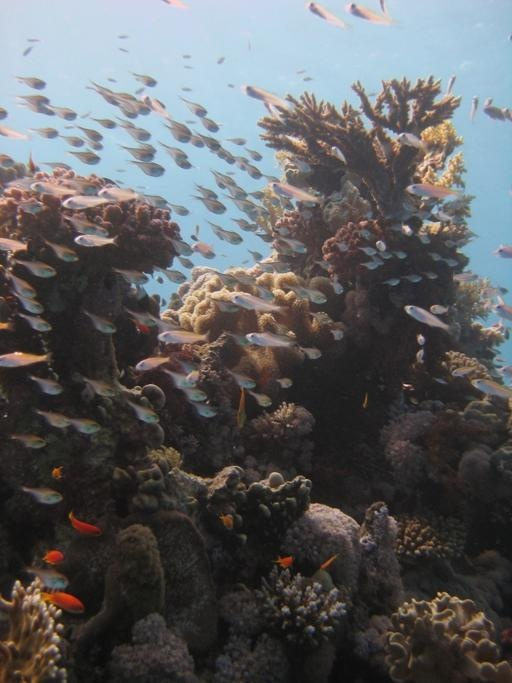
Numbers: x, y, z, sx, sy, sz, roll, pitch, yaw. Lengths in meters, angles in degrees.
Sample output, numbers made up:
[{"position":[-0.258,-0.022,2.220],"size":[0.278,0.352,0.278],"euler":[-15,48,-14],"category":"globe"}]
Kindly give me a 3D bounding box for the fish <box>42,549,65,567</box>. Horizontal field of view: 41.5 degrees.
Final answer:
[{"position":[-2.045,2.163,6.821],"size":[0.196,0.196,0.246],"euler":[5,15,-16],"category":"fish"}]

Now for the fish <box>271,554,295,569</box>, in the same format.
[{"position":[0.346,2.441,7.477],"size":[0.317,0.181,0.096],"euler":[0,-37,12],"category":"fish"}]

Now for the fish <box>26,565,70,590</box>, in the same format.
[{"position":[-2.031,2.330,6.638],"size":[0.465,0.204,0.103],"euler":[21,-21,10],"category":"fish"}]

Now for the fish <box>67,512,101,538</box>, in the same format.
[{"position":[-1.792,1.917,6.988],"size":[0.398,0.143,0.110],"euler":[26,-4,5],"category":"fish"}]
